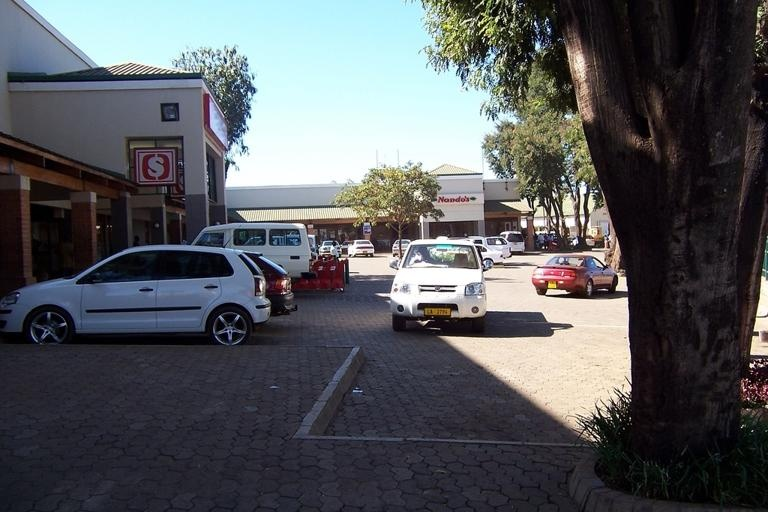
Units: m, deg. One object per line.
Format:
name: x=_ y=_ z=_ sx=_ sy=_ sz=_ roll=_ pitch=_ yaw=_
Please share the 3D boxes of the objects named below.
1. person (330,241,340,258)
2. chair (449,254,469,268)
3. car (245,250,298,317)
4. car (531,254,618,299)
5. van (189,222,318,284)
person: x=-4.447 y=-0.519 z=48.794 sx=1.300 sy=1.268 sz=3.211 roll=-1 pitch=-3 yaw=-4
chair: x=1.889 y=0.143 z=13.582 sx=0.314 sy=0.330 sz=0.332 roll=0 pitch=-7 yaw=1
car: x=-2.946 y=0.764 z=13.189 sx=1.712 sy=0.992 sz=0.959 roll=1 pitch=1 yaw=0
car: x=7.234 y=0.815 z=20.986 sx=3.219 sy=1.523 sz=1.541 roll=-10 pitch=12 yaw=-31
van: x=-4.739 y=-0.155 z=21.039 sx=3.586 sy=1.981 sz=2.213 roll=1 pitch=-1 yaw=-4
